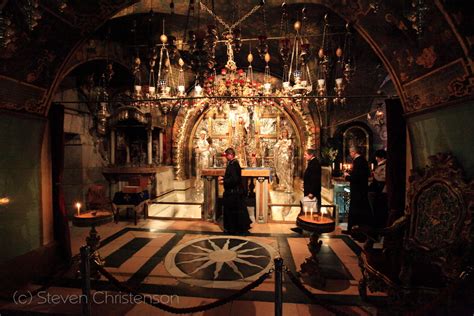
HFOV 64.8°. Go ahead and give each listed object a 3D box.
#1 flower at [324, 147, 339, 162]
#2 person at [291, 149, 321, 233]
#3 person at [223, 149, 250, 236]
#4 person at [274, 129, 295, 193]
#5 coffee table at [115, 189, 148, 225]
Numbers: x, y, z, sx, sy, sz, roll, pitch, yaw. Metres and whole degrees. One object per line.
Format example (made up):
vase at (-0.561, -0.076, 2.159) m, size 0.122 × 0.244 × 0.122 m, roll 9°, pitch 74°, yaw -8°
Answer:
flower at (3.471, -0.121, 13.561) m, size 0.509 × 0.338 × 0.500 m, roll 2°, pitch -4°, yaw 1°
person at (1.880, 0.866, 9.599) m, size 0.572 × 2.154 × 0.592 m, roll 2°, pitch -5°, yaw -11°
person at (-0.021, 0.866, 9.827) m, size 0.765 × 2.252 × 0.389 m, roll 1°, pitch -5°, yaw 1°
person at (1.794, 0.136, 14.403) m, size 0.732 × 2.359 × 1.150 m, roll 1°, pitch -5°, yaw 6°
coffee table at (-3.085, 1.400, 10.774) m, size 0.958 × 0.796 × 0.954 m, roll 0°, pitch -1°, yaw 13°
